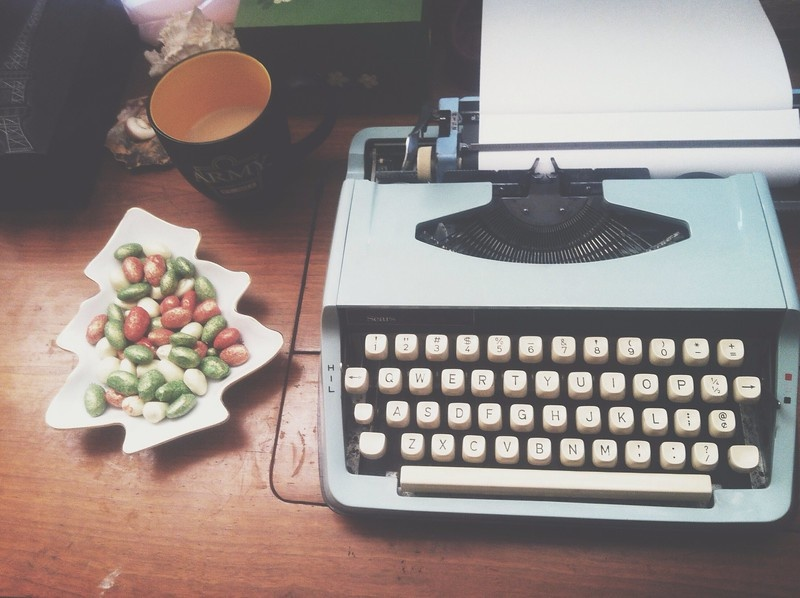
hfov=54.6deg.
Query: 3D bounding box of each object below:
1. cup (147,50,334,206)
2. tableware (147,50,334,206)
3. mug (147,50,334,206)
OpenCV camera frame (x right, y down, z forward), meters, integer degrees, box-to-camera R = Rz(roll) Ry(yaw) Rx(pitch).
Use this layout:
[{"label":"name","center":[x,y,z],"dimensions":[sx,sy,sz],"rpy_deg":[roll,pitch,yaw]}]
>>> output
[{"label":"cup","center":[-0.298,-0.307,1.426],"dimensions":[0.318,0.197,0.209],"rpy_deg":[-34,72,-6]},{"label":"tableware","center":[-0.299,-0.304,1.429],"dimensions":[0.318,0.197,0.209],"rpy_deg":[-34,72,-6]},{"label":"mug","center":[-0.296,-0.302,1.425],"dimensions":[0.318,0.197,0.209],"rpy_deg":[-34,72,-6]}]
